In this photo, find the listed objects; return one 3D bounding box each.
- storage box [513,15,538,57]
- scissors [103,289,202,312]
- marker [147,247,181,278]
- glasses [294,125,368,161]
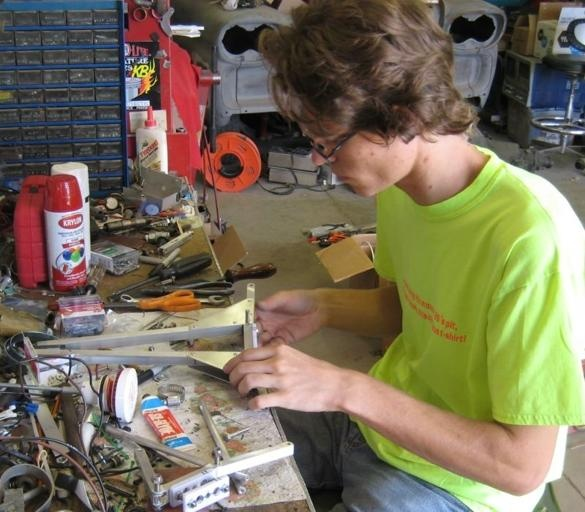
[{"bbox_3d":[2.259,-2.148,5.028,0.242,0.323,0.252,-14,37,1],"label":"storage box"},{"bbox_3d":[-0.336,0.116,1.292,0.165,0.022,0.072,-2,18,-9],"label":"scissors"},{"bbox_3d":[-0.359,0.020,1.466,0.029,0.019,0.128,19,26,12],"label":"marker"},{"bbox_3d":[0.067,-0.208,0.988,0.081,0.021,0.083,-42,40,-16],"label":"glasses"}]
